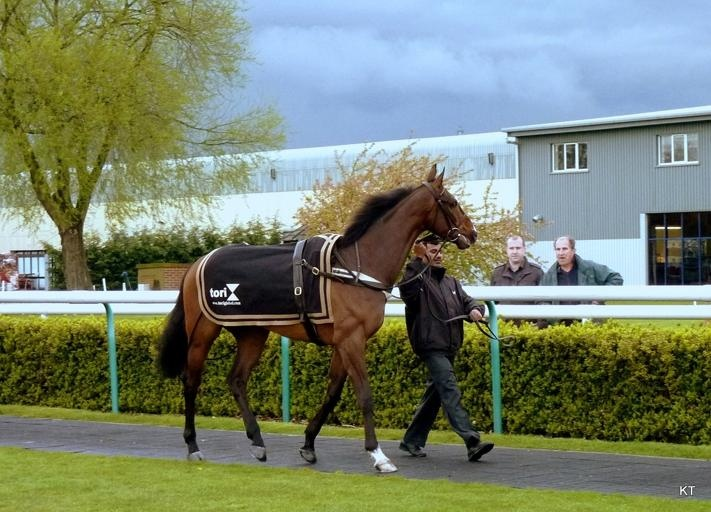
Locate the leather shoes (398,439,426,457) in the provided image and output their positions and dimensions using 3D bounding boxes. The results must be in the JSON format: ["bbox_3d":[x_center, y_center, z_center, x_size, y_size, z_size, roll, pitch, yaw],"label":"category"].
[{"bbox_3d":[0.688,2.332,16.132,0.359,0.170,0.141,21,4,4],"label":"leather shoes"}]

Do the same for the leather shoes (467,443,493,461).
[{"bbox_3d":[1.479,2.296,15.838,0.285,0.251,0.313,-1,7,-2],"label":"leather shoes"}]

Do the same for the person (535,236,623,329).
[{"bbox_3d":[2.945,0.315,17.508,1.083,1.162,1.171,0,8,9],"label":"person"}]
